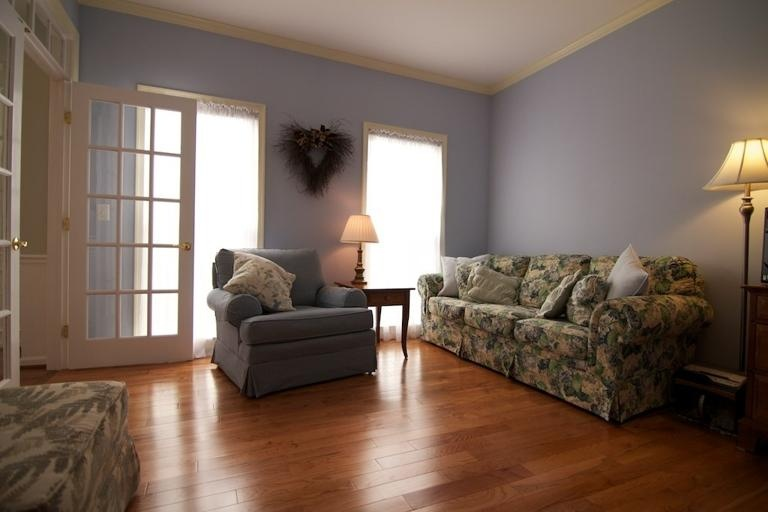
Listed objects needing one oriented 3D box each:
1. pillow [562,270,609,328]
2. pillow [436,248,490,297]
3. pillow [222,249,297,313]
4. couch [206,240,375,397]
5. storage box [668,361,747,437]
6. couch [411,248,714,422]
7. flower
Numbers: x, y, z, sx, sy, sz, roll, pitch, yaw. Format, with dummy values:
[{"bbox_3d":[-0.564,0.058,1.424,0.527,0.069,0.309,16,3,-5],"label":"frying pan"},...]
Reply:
[{"bbox_3d":[1.711,0.377,4.220,0.164,0.314,0.321,17,-28,2],"label":"pillow"},{"bbox_3d":[0.894,0.263,5.740,0.154,0.494,0.507,23,-17,-32],"label":"pillow"},{"bbox_3d":[-1.196,0.325,4.556,0.546,0.535,0.164,26,-54,-29],"label":"pillow"},{"bbox_3d":[-0.962,0.476,4.779,1.348,1.253,1.324,1,-5,-33],"label":"couch"},{"bbox_3d":[2.510,1.076,3.967,0.405,0.523,0.553,9,-5,-29],"label":"storage box"},{"bbox_3d":[1.534,0.574,4.950,1.225,1.252,2.778,-1,4,-39],"label":"couch"},{"bbox_3d":[-0.751,-1.076,5.502,0.741,0.829,0.259,-6,-1,-22],"label":"flower"}]
